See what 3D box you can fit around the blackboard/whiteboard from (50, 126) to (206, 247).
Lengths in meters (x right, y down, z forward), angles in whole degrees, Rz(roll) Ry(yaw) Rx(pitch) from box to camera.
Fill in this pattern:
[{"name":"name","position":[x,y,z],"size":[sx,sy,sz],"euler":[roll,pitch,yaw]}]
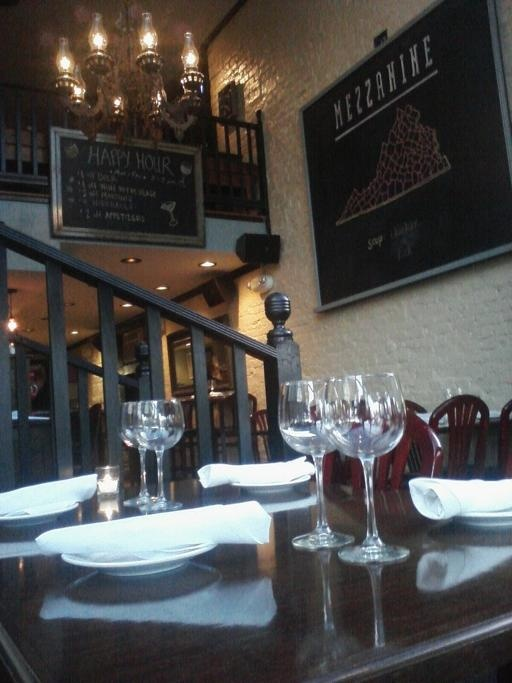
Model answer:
[{"name":"blackboard/whiteboard","position":[-1.174,-1.339,4.958],"size":[1.238,1.161,0.067],"euler":[1,-8,-34]}]
